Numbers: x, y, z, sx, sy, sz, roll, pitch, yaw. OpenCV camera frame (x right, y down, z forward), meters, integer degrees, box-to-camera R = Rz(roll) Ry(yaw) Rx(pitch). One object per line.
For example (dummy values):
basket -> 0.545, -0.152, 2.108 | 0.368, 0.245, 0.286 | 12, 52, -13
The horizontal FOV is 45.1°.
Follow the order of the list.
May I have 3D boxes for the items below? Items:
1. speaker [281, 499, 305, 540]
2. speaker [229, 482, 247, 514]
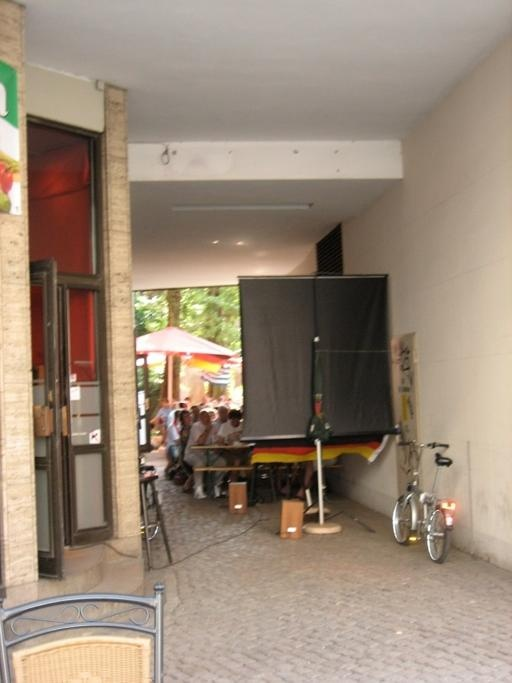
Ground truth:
speaker -> 0.348, 1.765, 6.171 | 0.232, 0.341, 0.328 | -3, -7, 1
speaker -> -0.226, 1.897, 7.514 | 0.216, 0.347, 0.269 | -2, -7, -6
